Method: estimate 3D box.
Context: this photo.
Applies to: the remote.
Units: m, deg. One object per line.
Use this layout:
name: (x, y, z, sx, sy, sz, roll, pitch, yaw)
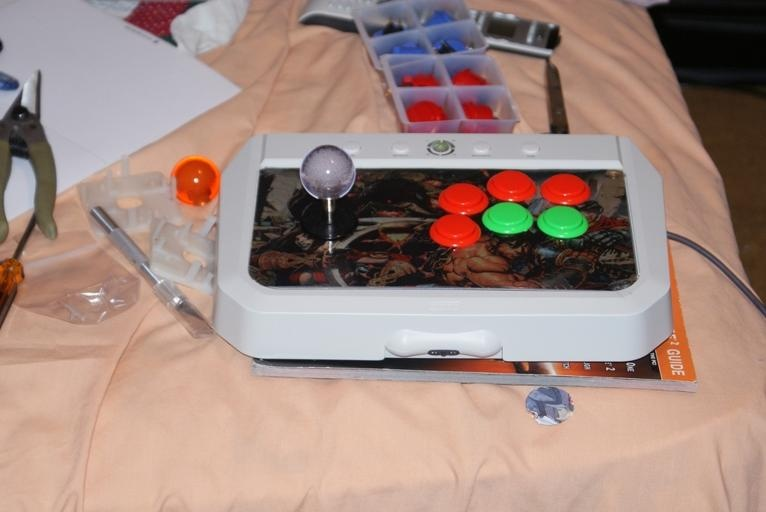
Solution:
remote: (0.092, -0.440, 1.128, 0.480, 0.061, 0.093, 7, 53, 6)
